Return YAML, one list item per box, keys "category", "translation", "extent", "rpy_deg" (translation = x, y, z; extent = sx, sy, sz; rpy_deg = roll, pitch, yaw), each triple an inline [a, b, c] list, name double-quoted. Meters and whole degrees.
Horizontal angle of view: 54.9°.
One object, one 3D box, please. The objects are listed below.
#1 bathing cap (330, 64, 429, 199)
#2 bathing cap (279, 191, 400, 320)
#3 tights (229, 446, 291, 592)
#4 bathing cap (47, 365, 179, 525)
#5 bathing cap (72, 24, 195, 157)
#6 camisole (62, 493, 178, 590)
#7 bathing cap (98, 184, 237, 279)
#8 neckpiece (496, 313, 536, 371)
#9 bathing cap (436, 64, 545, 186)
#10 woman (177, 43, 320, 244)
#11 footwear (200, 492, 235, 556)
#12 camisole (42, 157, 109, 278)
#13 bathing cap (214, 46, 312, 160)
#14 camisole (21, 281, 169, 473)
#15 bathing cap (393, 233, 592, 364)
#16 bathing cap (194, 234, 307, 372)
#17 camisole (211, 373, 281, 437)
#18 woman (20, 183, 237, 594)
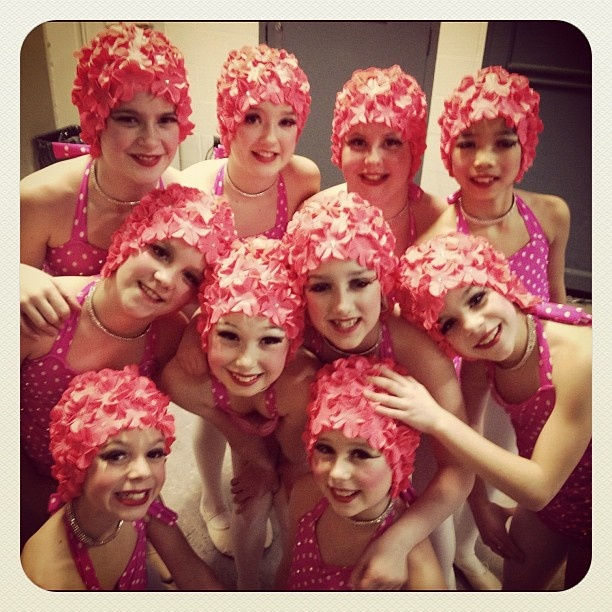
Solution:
- category: "bathing cap"
  translation: [0.263, -0.619, 2.019]
  extent: [0.249, 0.333, 0.336]
  rpy_deg: [4, 42, 9]
- category: "bathing cap"
  translation: [0.090, -0.149, 1.707]
  extent: [0.282, 0.312, 0.312]
  rpy_deg: [0, 6, -7]
- category: "tights"
  translation: [-0.145, 0.760, 2.022]
  extent: [0.158, 0.504, 0.198]
  rpy_deg: [-3, 2, -2]
- category: "bathing cap"
  translation: [-0.623, 0.431, 1.855]
  extent: [0.415, 0.455, 0.249]
  rpy_deg: [-2, 21, -10]
- category: "bathing cap"
  translation: [-0.550, -0.682, 1.972]
  extent: [0.332, 0.368, 0.356]
  rpy_deg: [0, 5, -9]
- category: "camisole"
  translation: [-0.639, 0.708, 2.022]
  extent: [0.294, 0.166, 0.309]
  rpy_deg: [-9, -6, -21]
- category: "bathing cap"
  translation: [-0.451, -0.182, 1.826]
  extent: [0.398, 0.145, 0.337]
  rpy_deg: [-22, -8, 30]
- category: "neckpiece"
  translation: [0.689, 0.127, 1.918]
  extent: [0.121, 0.154, 0.038]
  rpy_deg: [5, -3, -15]
- category: "bathing cap"
  translation: [0.686, -0.652, 2.060]
  extent: [0.292, 0.302, 0.271]
  rpy_deg: [-4, 6, -39]
- category: "woman"
  translation: [-0.207, -0.569, 1.977]
  extent: [0.521, 0.701, 0.386]
  rpy_deg: [-6, 47, -8]
- category: "footwear"
  translation: [-0.294, 0.768, 2.051]
  extent: [0.086, 0.230, 0.090]
  rpy_deg: [-16, -12, -34]
- category: "camisole"
  translation: [-0.776, -0.305, 2.023]
  extent: [0.245, 0.362, 0.136]
  rpy_deg: [8, 12, 0]
- category: "bathing cap"
  translation: [-0.131, -0.682, 1.988]
  extent: [0.283, 0.330, 0.304]
  rpy_deg: [1, 54, -4]
- category: "camisole"
  translation: [-0.650, 0.205, 1.827]
  extent: [0.228, 0.440, 0.391]
  rpy_deg: [33, 45, 4]
- category: "bathing cap"
  translation: [0.567, -0.050, 1.882]
  extent: [0.601, 0.358, 0.196]
  rpy_deg: [-6, 22, -18]
- category: "bathing cap"
  translation: [-0.152, -0.038, 1.700]
  extent: [0.272, 0.304, 0.310]
  rpy_deg: [3, 10, 3]
- category: "camisole"
  translation: [-0.190, 0.323, 1.942]
  extent: [0.162, 0.222, 0.087]
  rpy_deg: [-19, 13, 40]
- category: "woman"
  translation: [-0.695, 0.332, 2.015]
  extent: [0.605, 1.562, 0.531]
  rpy_deg: [11, 15, -23]
